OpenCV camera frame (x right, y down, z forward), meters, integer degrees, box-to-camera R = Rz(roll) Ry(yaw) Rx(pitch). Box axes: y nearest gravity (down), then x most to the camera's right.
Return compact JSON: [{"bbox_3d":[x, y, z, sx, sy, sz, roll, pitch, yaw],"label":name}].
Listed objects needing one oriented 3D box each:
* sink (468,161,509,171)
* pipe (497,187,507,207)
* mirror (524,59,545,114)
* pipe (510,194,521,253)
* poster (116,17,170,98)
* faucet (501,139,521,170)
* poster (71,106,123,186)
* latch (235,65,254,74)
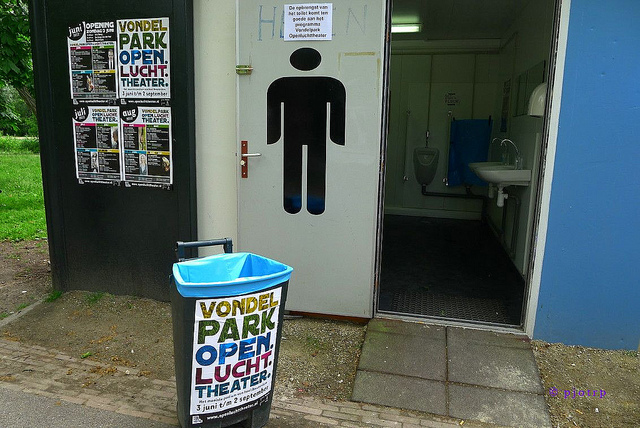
[{"bbox_3d":[2.615,-0.784,7.608,0.411,0.100,0.313,-2,8,-7],"label":"sink"},{"bbox_3d":[2.484,-0.251,6.568,0.114,0.282,0.516,6,13,20],"label":"pipe"},{"bbox_3d":[2.818,-1.668,6.376,0.101,0.657,0.918,4,12,16],"label":"mirror"},{"bbox_3d":[2.707,0.152,6.749,0.109,0.858,0.352,4,13,15],"label":"pipe"},{"bbox_3d":[-1.903,-1.681,5.183,0.584,0.809,0.077,3,12,8],"label":"poster"},{"bbox_3d":[2.702,-0.846,6.786,0.243,0.394,0.545,6,13,20],"label":"faucet"},{"bbox_3d":[-2.503,-0.768,5.414,0.583,0.855,0.090,4,13,13],"label":"poster"},{"bbox_3d":[-0.787,-1.503,4.994,0.178,0.089,0.046,5,13,17],"label":"latch"}]
